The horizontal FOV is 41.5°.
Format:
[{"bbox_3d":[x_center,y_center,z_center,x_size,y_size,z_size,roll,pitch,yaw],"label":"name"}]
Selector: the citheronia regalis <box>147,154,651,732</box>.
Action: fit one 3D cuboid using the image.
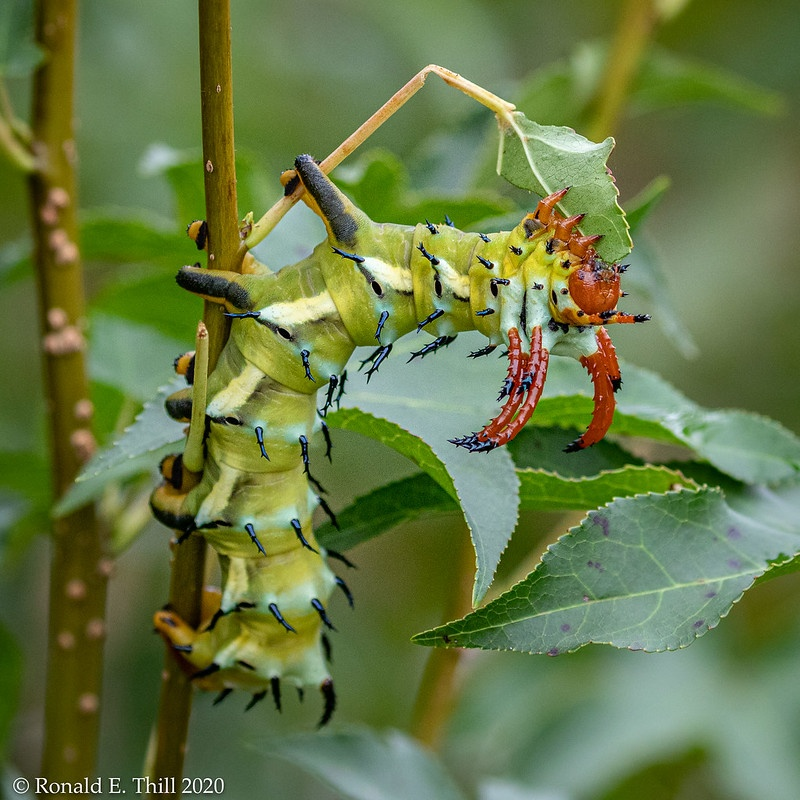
[{"bbox_3d":[-0.054,0.077,1.062,0.366,0.591,0.495,6,-1,-33],"label":"citheronia regalis"}]
